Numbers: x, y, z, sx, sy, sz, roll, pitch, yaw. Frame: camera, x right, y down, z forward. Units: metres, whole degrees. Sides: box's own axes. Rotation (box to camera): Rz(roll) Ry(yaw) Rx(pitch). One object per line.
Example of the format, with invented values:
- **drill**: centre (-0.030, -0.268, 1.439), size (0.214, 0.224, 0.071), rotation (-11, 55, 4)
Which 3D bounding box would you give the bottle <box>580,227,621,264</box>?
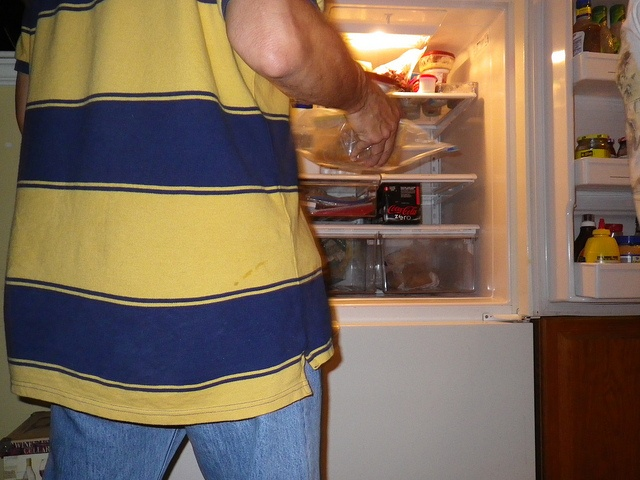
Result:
- **bottle**: centre (0.828, 0.024, 1.726), size (0.095, 0.165, 0.100), rotation (0, -6, 0)
